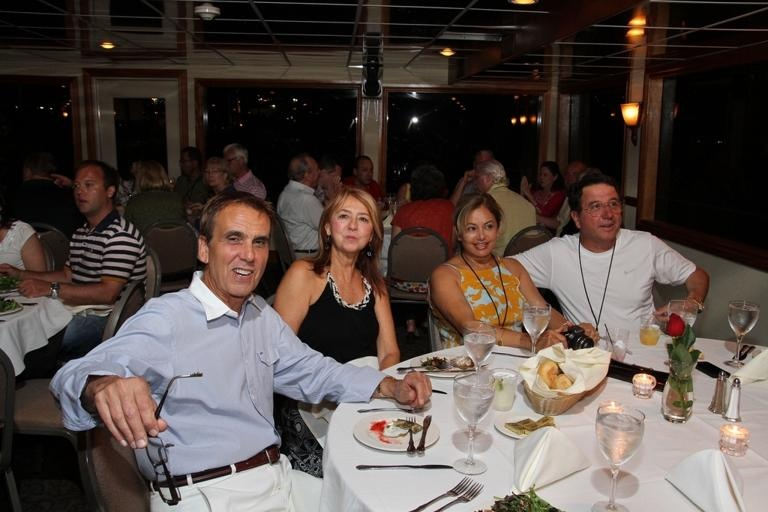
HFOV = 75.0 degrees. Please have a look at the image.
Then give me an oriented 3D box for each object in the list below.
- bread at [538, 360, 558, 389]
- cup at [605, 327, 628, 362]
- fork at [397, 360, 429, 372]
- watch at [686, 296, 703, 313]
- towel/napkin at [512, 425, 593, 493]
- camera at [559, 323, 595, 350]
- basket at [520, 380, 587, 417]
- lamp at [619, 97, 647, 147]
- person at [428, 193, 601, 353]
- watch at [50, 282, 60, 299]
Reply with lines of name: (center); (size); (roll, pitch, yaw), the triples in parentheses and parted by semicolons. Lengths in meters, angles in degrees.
bread: (0.662, 0.473, 2.010); (0.088, 0.093, 0.029); (-11, -6, -41)
cup: (1.153, 0.423, 2.435); (0.098, 0.163, 0.161); (-2, 0, 2)
fork: (0.133, 0.513, 2.325); (0.172, 0.027, 0.047); (-3, 9, 5)
watch: (1.722, 0.266, 2.773); (0.087, 0.104, 0.099); (0, -1, 2)
towel/napkin: (0.546, 0.656, 1.641); (0.197, 0.098, 0.195); (-11, 24, -27)
camera: (0.920, 0.380, 2.377); (0.105, 0.114, 0.111); (-18, 31, -21)
basket: (0.657, 0.574, 1.959); (0.155, 0.069, 0.159); (1, 1, -9)
lamp: (3.206, -1.732, 6.476); (0.221, 0.571, 0.233); (7, 13, 37)
person: (0.655, 0.075, 3.164); (0.642, 1.134, 0.996); (-9, 4, -38)
watch: (-2.216, 0.224, 3.370); (0.056, 0.089, 0.094); (1, 54, -9)
